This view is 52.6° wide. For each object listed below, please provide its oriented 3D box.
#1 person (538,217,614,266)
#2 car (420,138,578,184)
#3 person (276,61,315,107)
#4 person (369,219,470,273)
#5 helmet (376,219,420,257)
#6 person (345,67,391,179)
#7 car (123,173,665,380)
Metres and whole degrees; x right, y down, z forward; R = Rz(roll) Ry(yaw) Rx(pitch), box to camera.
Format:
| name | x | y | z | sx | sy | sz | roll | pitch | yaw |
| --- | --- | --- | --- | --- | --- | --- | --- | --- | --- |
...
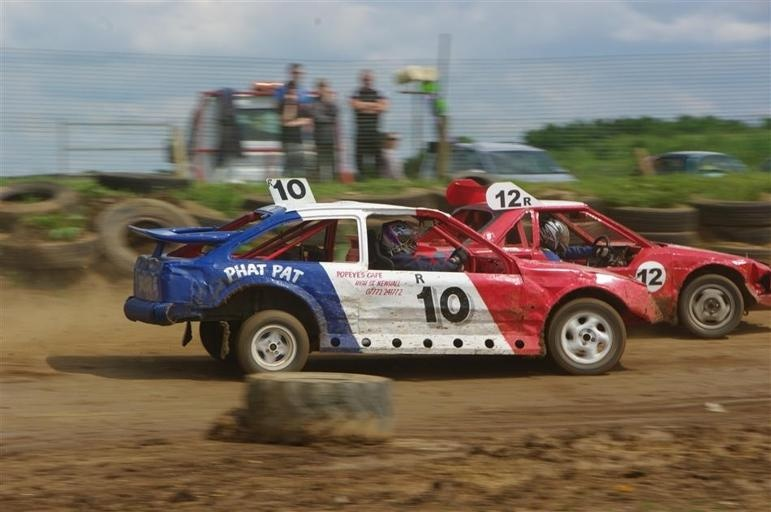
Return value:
| name | x | y | z | sx | sy | sz | roll | pitch | yaw |
| --- | --- | --- | --- | --- | --- | --- | --- | --- | --- |
| person | 2.260 | -0.172 | 9.452 | 1.082 | 0.366 | 0.531 | 5 | -2 | -12 |
| car | 1.785 | -1.559 | 12.960 | 1.884 | 0.596 | 1.001 | -2 | 15 | -3 |
| person | -1.436 | -2.688 | 12.272 | 0.581 | 0.609 | 0.154 | -1 | 17 | -6 |
| person | 0.349 | -0.113 | 8.026 | 0.956 | 0.297 | 0.567 | 5 | 11 | 2 |
| helmet | 0.130 | -0.206 | 8.232 | 0.523 | 0.356 | 0.341 | -17 | 22 | -12 |
| person | -0.255 | -2.116 | 12.670 | 0.628 | 1.729 | 0.294 | 1 | 17 | -1 |
| car | -0.116 | 0.204 | 8.344 | 5.600 | 1.453 | 2.110 | -1 | 2 | -13 |
